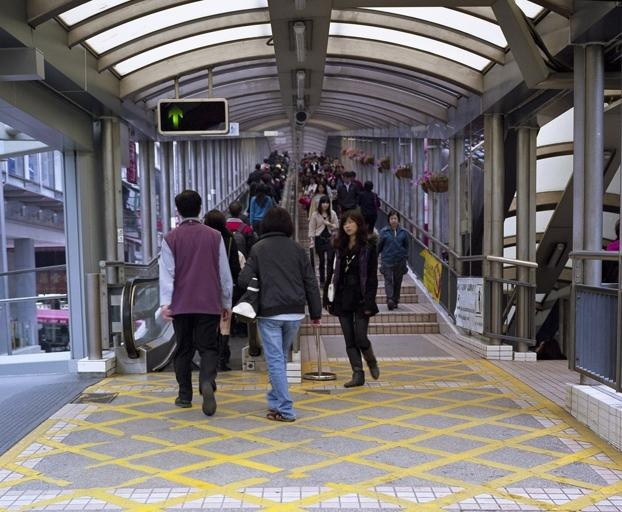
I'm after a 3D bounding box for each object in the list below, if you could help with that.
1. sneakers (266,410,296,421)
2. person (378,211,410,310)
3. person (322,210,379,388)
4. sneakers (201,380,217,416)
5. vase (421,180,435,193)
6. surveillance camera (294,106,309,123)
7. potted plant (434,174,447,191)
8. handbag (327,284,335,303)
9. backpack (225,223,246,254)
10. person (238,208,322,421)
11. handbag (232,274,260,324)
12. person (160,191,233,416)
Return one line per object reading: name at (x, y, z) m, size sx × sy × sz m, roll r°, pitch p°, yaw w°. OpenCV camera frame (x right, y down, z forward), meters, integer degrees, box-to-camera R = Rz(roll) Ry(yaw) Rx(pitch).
sneakers at (-0.290, 1.511, 4.552) m, size 0.254 × 0.113 × 0.102 m, roll 9°, pitch 1°, yaw 16°
person at (1.758, 0.095, 10.243) m, size 0.597 × 2.142 × 0.647 m, roll -1°, pitch -3°, yaw 10°
person at (0.473, 0.524, 5.688) m, size 0.629 × 2.089 × 0.515 m, roll -1°, pitch -3°, yaw 6°
sneakers at (-0.964, 1.344, 4.597) m, size 0.142 × 0.346 × 0.158 m, roll -11°, pitch -25°, yaw 1°
vase at (3.074, -1.798, 12.612) m, size 0.276 × 0.300 × 0.340 m, roll 1°, pitch -31°, yaw 5°
surveillance camera at (-0.223, -3.213, 11.147) m, size 0.238 × 0.268 × 0.260 m, roll -1°, pitch 9°, yaw 0°
potted plant at (3.308, -1.845, 12.163) m, size 0.296 × 0.428 × 0.308 m, roll -1°, pitch -3°, yaw 14°
handbag at (0.231, 0.450, 5.577) m, size 0.053 × 0.172 × 0.122 m, roll 5°, pitch -3°, yaw -18°
backpack at (-1.052, -0.296, 6.942) m, size 0.320 × 0.448 × 0.425 m, roll 0°, pitch -28°, yaw -4°
person at (-0.288, 0.534, 4.598) m, size 0.782 × 2.026 × 0.393 m, roll 0°, pitch -3°, yaw -7°
handbag at (-0.592, 0.394, 4.432) m, size 0.242 × 0.410 × 0.177 m, roll 0°, pitch -3°, yaw -6°
person at (-1.151, 0.444, 4.779) m, size 0.687 × 2.215 × 0.512 m, roll -1°, pitch -3°, yaw 3°
